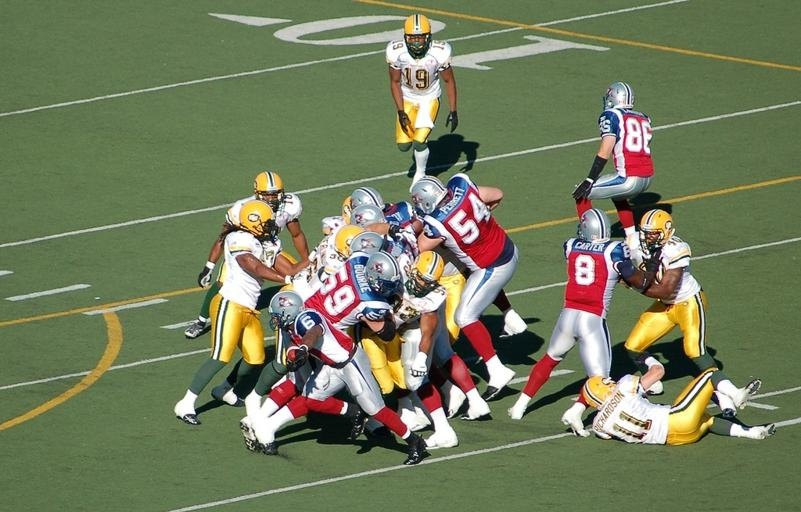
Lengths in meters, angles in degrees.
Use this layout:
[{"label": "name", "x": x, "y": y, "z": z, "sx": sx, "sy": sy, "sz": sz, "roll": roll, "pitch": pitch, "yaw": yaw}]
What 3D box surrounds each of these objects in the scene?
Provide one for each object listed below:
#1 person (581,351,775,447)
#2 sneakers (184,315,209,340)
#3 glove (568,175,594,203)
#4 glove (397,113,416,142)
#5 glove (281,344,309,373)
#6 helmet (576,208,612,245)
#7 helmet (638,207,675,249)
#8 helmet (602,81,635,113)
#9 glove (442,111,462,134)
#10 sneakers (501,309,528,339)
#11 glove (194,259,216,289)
[{"label": "person", "x": 3.123, "y": 1.692, "z": 14.129, "sx": 2.211, "sy": 0.587, "sz": 1.153, "roll": 0, "pitch": 15, "yaw": 18}, {"label": "sneakers", "x": -2.575, "y": 0.926, "z": 16.174, "sx": 0.483, "sy": 0.161, "sz": 0.213, "roll": -30, "pitch": -6, "yaw": 20}, {"label": "glove", "x": 2.545, "y": -0.907, "z": 17.303, "sx": 0.233, "sy": 0.341, "sz": 0.104, "roll": 41, "pitch": 2, "yaw": 25}, {"label": "glove", "x": 0.095, "y": -1.998, "z": 19.421, "sx": 0.177, "sy": 0.371, "sz": 0.305, "roll": -16, "pitch": 8, "yaw": -1}, {"label": "glove", "x": -1.101, "y": 1.079, "z": 13.524, "sx": 0.268, "sy": 0.266, "sz": 0.369, "roll": -10, "pitch": 15, "yaw": -5}, {"label": "helmet", "x": 2.348, "y": -0.373, "z": 14.642, "sx": 0.428, "sy": 0.343, "sz": 0.505, "roll": -5, "pitch": 14, "yaw": 10}, {"label": "helmet", "x": 3.116, "y": -0.341, "z": 15.283, "sx": 0.445, "sy": 0.373, "sz": 0.488, "roll": 9, "pitch": 28, "yaw": 29}, {"label": "helmet", "x": 3.158, "y": -2.275, "z": 17.890, "sx": 0.573, "sy": 0.440, "sz": 0.459, "roll": 14, "pitch": 13, "yaw": 42}, {"label": "glove", "x": 0.829, "y": -2.137, "z": 19.796, "sx": 0.315, "sy": 0.383, "sz": 0.132, "roll": -12, "pitch": -12, "yaw": 13}, {"label": "sneakers", "x": 1.411, "y": 0.861, "z": 15.808, "sx": 0.305, "sy": 0.195, "sz": 0.384, "roll": -26, "pitch": -8, "yaw": -18}, {"label": "glove", "x": -2.535, "y": 0.226, "z": 16.273, "sx": 0.179, "sy": 0.373, "sz": 0.252, "roll": 34, "pitch": -17, "yaw": 4}]
